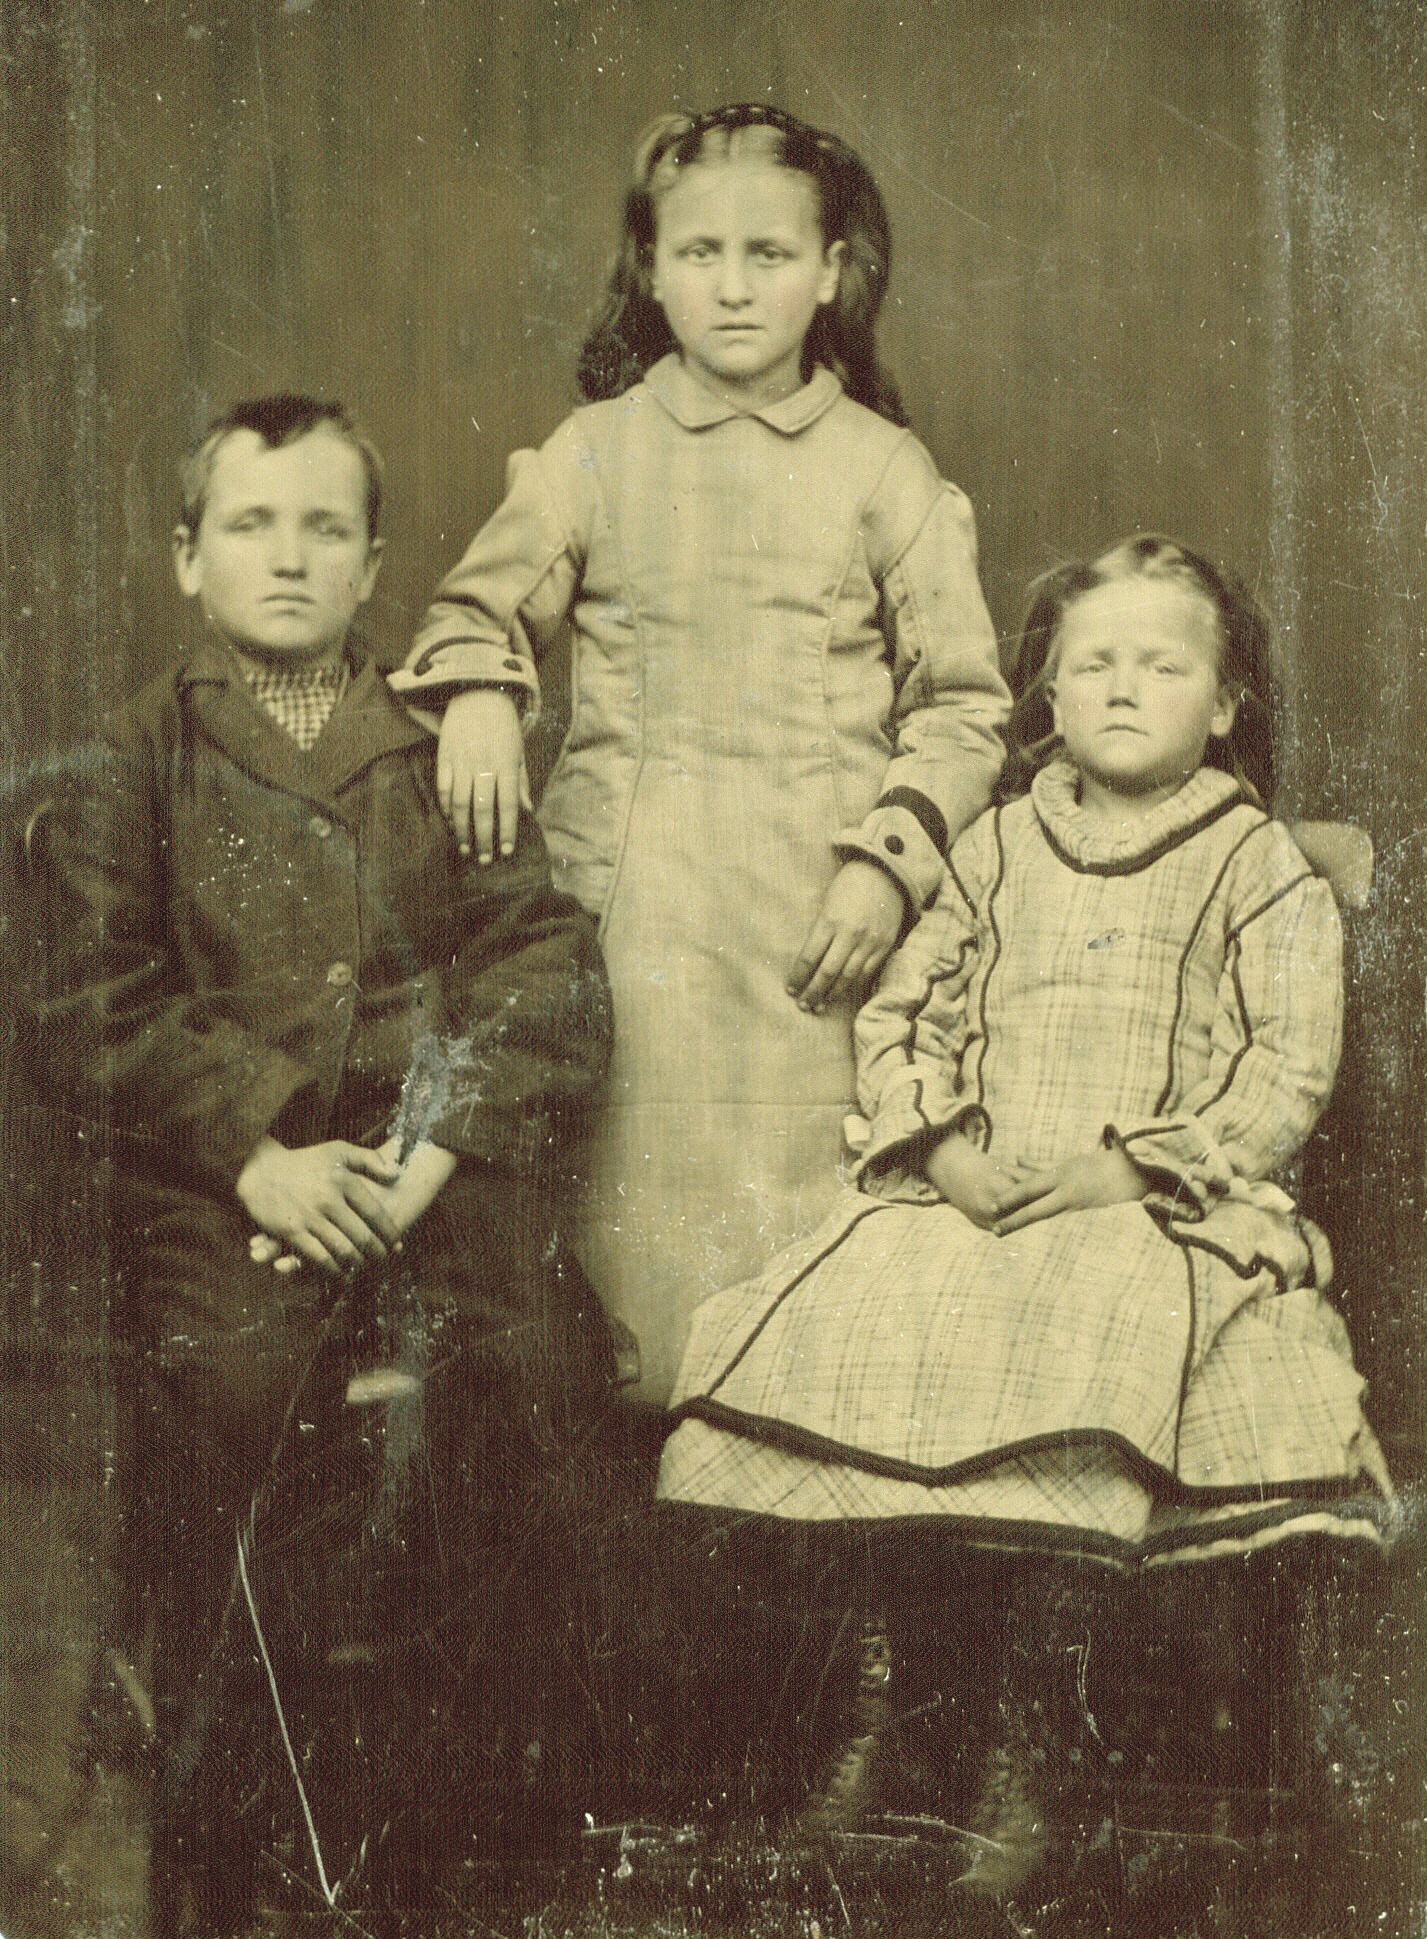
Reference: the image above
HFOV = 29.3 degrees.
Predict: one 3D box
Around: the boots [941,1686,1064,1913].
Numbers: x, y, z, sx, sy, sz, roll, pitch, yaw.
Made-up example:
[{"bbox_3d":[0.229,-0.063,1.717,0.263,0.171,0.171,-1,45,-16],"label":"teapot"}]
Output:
[{"bbox_3d":[0.385,1.053,3.516,0.140,0.154,0.336,-14,23,18],"label":"boots"}]
